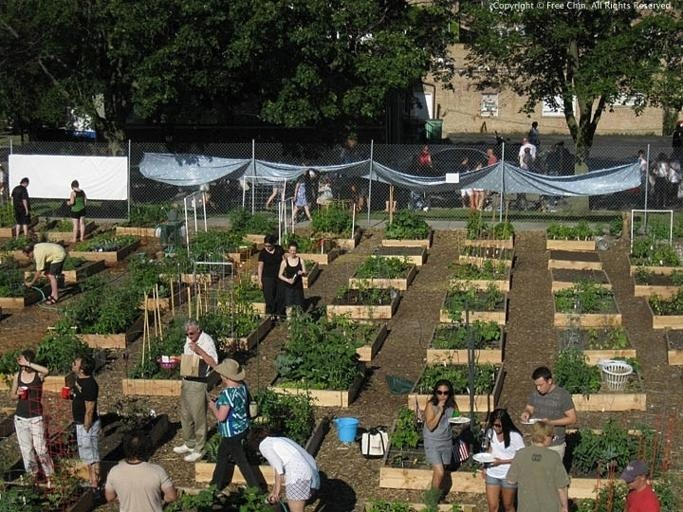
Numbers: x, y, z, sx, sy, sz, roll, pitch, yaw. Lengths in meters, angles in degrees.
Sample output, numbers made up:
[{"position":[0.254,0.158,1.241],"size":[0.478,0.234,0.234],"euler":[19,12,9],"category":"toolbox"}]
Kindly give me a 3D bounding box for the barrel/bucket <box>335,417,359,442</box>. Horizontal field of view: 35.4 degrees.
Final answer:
[{"position":[0.099,3.287,20.508],"size":[0.392,0.477,0.437],"euler":[0,9,1],"category":"barrel/bucket"}]

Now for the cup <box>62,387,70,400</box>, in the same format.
[{"position":[-5.040,2.500,19.514],"size":[0.143,0.255,0.335],"euler":[-4,10,-20],"category":"cup"}]

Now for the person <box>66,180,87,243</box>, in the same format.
[{"position":[-7.748,-1.274,31.322],"size":[0.449,1.836,1.072],"euler":[-3,9,-15],"category":"person"}]

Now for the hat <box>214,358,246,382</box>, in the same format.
[{"position":[-1.965,1.995,18.696],"size":[0.452,0.373,0.285],"euler":[-2,9,-8],"category":"hat"}]

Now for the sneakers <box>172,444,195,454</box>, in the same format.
[{"position":[-3.002,3.612,20.160],"size":[0.375,0.167,0.174],"euler":[4,22,-3],"category":"sneakers"}]

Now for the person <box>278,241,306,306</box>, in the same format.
[{"position":[-1.131,0.476,24.020],"size":[0.598,1.573,0.755],"euler":[-2,9,-6],"category":"person"}]

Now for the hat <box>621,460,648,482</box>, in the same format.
[{"position":[4.686,3.418,17.193],"size":[0.380,0.254,0.281],"euler":[-12,7,-6],"category":"hat"}]

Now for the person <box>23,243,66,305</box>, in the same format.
[{"position":[-7.268,0.408,26.217],"size":[0.951,1.535,1.162],"euler":[-4,10,-18],"category":"person"}]

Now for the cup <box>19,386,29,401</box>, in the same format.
[{"position":[-5.704,2.461,19.171],"size":[0.168,0.224,0.090],"euler":[-4,9,-18],"category":"cup"}]

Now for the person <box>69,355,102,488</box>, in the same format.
[{"position":[-4.651,2.859,19.396],"size":[0.469,2.326,1.339],"euler":[-3,9,-14],"category":"person"}]

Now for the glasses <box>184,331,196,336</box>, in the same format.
[{"position":[-2.809,1.430,19.797],"size":[0.142,0.050,0.159],"euler":[-2,2,13],"category":"glasses"}]

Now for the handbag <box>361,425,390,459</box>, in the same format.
[{"position":[0.619,3.488,19.935],"size":[0.413,0.459,0.207],"euler":[1,12,0],"category":"handbag"}]

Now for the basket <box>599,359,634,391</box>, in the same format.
[{"position":[5.490,2.327,21.444],"size":[0.521,0.419,0.568],"euler":[-3,20,-1],"category":"basket"}]

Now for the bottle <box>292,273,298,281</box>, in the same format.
[{"position":[-1.026,0.505,23.920],"size":[0.126,0.165,0.079],"euler":[0,9,3],"category":"bottle"}]

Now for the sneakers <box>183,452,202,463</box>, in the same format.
[{"position":[-2.784,3.729,19.889],"size":[0.429,0.180,0.208],"euler":[5,11,28],"category":"sneakers"}]
